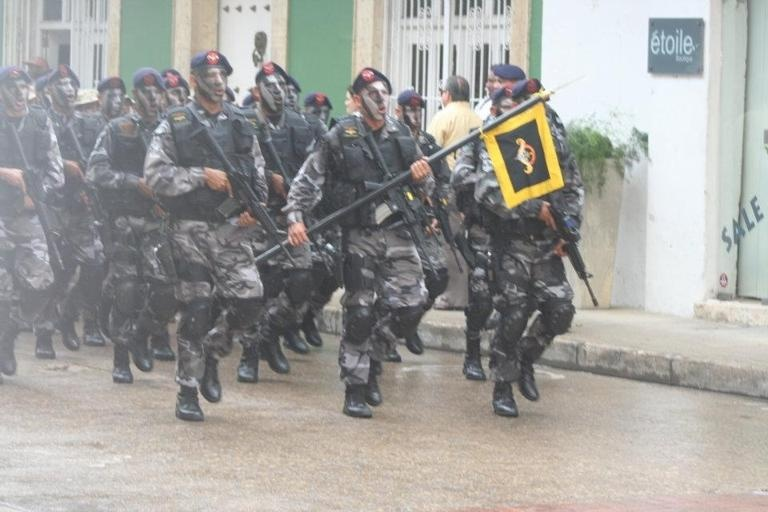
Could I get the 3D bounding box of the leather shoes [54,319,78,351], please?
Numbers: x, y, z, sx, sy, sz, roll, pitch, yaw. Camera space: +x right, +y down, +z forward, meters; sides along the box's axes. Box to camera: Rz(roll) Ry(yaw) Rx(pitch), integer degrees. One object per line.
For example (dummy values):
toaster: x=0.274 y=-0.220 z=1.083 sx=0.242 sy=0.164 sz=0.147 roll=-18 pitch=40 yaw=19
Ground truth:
leather shoes: x=-3.420 y=0.837 z=12.992 sx=0.148 sy=0.453 sz=0.186 roll=-19 pitch=-5 yaw=-25

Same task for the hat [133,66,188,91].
hat: x=-2.439 y=-1.912 z=13.142 sx=0.449 sy=0.221 sz=0.538 roll=0 pitch=-1 yaw=38

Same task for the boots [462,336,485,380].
boots: x=0.917 y=1.024 z=12.255 sx=0.191 sy=0.428 sz=0.428 roll=0 pitch=16 yaw=-12

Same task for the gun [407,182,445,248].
gun: x=0.372 y=-0.501 z=11.342 sx=0.327 sy=0.790 sz=0.196 roll=11 pitch=-35 yaw=-29

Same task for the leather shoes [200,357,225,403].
leather shoes: x=-1.549 y=1.082 z=10.657 sx=0.150 sy=0.198 sz=0.455 roll=-6 pitch=32 yaw=-15

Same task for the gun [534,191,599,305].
gun: x=1.791 y=-0.132 z=11.834 sx=0.146 sy=1.375 sz=0.445 roll=-29 pitch=6 yaw=2

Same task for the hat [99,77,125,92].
hat: x=-3.060 y=-1.939 z=13.370 sx=0.188 sy=0.086 sz=0.218 roll=0 pitch=-11 yaw=-23

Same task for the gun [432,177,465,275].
gun: x=0.635 y=-0.347 z=12.040 sx=0.349 sy=0.996 sz=0.155 roll=-17 pitch=11 yaw=-26

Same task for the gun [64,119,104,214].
gun: x=-3.225 y=-0.927 z=12.799 sx=0.089 sy=1.069 sz=0.312 roll=-24 pitch=-16 yaw=-8

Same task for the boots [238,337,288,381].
boots: x=-1.219 y=1.026 z=12.049 sx=0.364 sy=0.329 sz=0.480 roll=-3 pitch=-1 yaw=35

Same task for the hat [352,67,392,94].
hat: x=-0.124 y=-1.603 z=10.911 sx=0.302 sy=0.176 sz=0.218 roll=-3 pitch=5 yaw=-9

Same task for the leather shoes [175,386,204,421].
leather shoes: x=-1.709 y=1.255 z=10.513 sx=0.242 sy=0.307 sz=0.265 roll=-1 pitch=11 yaw=-11

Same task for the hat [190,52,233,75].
hat: x=-1.548 y=-1.731 z=10.701 sx=0.356 sy=0.210 sz=0.241 roll=-1 pitch=11 yaw=-11

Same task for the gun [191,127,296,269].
gun: x=-1.314 y=-0.511 z=10.889 sx=0.111 sy=1.378 sz=0.507 roll=-39 pitch=14 yaw=-28

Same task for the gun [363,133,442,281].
gun: x=0.132 y=-0.483 z=10.922 sx=0.535 sy=1.329 sz=0.181 roll=-14 pitch=-15 yaw=-17

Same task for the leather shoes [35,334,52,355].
leather shoes: x=-3.551 y=0.907 z=12.521 sx=0.150 sy=0.244 sz=0.149 roll=7 pitch=-26 yaw=-30

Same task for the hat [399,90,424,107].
hat: x=0.295 y=-1.719 z=13.066 sx=0.252 sy=0.151 sz=0.186 roll=0 pitch=3 yaw=-11
